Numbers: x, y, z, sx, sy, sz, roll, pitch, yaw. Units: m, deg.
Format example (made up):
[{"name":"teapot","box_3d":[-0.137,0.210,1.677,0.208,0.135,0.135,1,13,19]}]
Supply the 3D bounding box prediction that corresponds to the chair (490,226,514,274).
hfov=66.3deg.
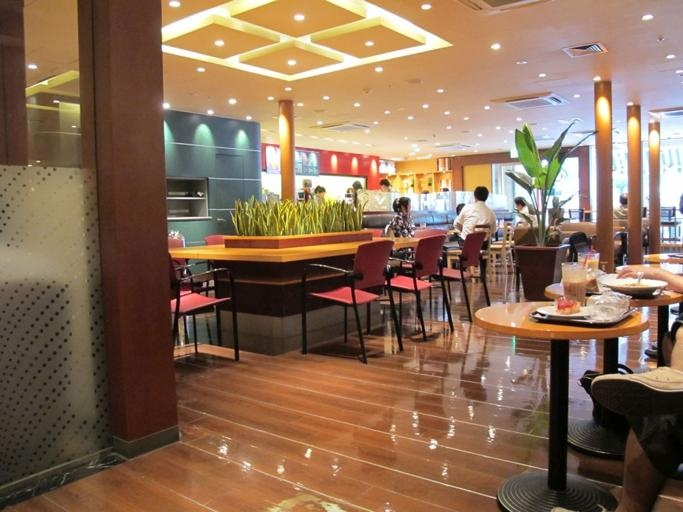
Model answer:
[{"name":"chair","box_3d":[2.877,-0.132,9.550,0.534,0.733,0.541,-2,7,10]}]

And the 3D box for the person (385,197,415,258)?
[{"name":"person","box_3d":[0.755,-0.381,6.889,0.372,0.784,0.377,-18,33,-38]}]

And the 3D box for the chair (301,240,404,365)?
[{"name":"chair","box_3d":[0.121,0.350,4.899,0.948,1.451,0.941,2,2,32]}]

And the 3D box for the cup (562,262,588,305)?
[{"name":"cup","box_3d":[0.999,0.124,2.245,0.096,0.185,0.170,1,9,23]}]

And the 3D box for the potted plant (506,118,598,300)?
[{"name":"potted plant","box_3d":[1.951,-0.670,5.143,0.543,1.165,1.237,1,9,23]}]

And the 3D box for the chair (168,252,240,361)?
[{"name":"chair","box_3d":[-1.220,0.386,4.259,0.501,0.720,0.432,0,7,-34]}]

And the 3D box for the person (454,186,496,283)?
[{"name":"person","box_3d":[2.165,-0.227,8.560,0.691,1.850,0.626,3,14,-1]}]
